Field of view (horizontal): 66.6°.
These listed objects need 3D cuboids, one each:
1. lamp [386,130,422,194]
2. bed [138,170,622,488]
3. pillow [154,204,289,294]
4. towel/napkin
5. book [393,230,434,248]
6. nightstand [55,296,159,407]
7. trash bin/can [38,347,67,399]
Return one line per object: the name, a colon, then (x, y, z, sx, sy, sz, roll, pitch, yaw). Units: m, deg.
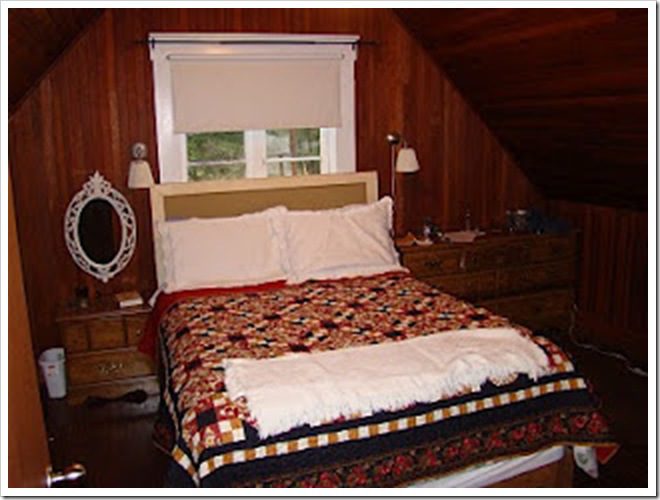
lamp: (0.604, -0.678, 4.206, 0.239, 0.562, 0.199, 16, 37, 29)
bed: (-0.088, 0.405, 3.285, 2.291, 1.336, 2.677, -6, 12, -19)
pillow: (-0.758, 0.013, 3.517, 0.623, 0.418, 0.096, -4, -18, -5)
towel/napkin: (0.261, 0.582, 2.368, 1.478, 0.205, 0.465, -5, 6, -14)
book: (0.681, -0.106, 4.126, 0.217, 0.071, 0.159, -3, 9, -15)
nightstand: (-1.547, 0.727, 3.590, 0.618, 0.588, 0.393, -3, 5, -25)
trash bin/can: (-1.925, 0.899, 3.436, 0.188, 0.274, 0.181, -11, -13, -22)
